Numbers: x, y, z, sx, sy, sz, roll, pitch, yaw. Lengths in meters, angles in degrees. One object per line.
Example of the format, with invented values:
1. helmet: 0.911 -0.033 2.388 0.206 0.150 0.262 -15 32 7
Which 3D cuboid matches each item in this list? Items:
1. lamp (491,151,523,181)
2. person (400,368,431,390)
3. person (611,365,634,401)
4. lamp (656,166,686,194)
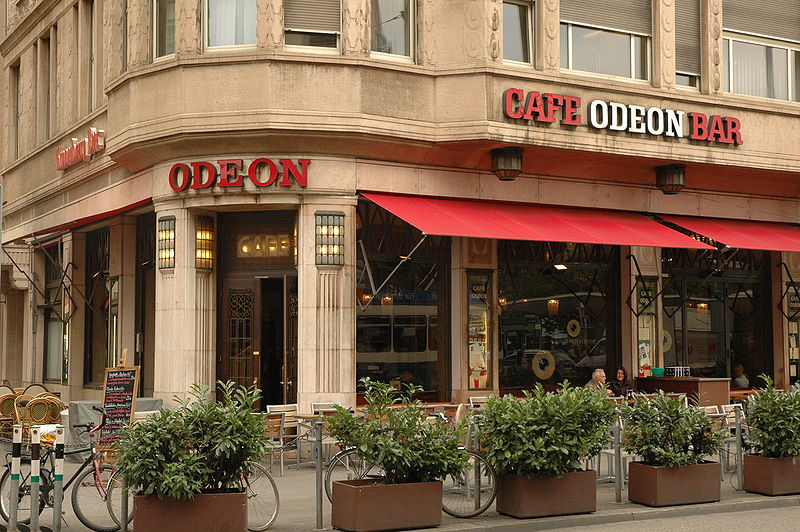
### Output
1. lamp: 2.507 -2.396 27.092 0.646 0.558 0.653 0 -8 -1
2. person: 0.310 2.651 27.053 0.410 0.470 0.765 -14 -14 27
3. person: 5.553 2.929 28.680 0.560 1.191 0.424 -3 -13 11
4. lamp: 6.844 -2.250 29.093 0.659 0.664 0.672 -1 -10 10
